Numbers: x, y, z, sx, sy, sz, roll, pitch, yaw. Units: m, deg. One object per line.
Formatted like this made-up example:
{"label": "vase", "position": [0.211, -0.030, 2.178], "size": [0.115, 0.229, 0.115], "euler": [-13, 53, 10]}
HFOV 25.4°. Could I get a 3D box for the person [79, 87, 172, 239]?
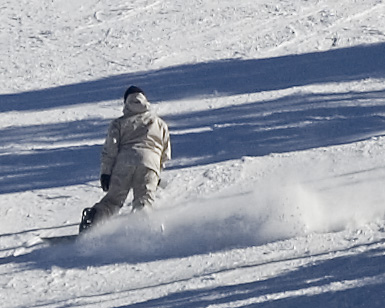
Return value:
{"label": "person", "position": [-1.032, 0.270, 13.589], "size": [1.247, 0.859, 2.948], "euler": [1, 56, 4]}
